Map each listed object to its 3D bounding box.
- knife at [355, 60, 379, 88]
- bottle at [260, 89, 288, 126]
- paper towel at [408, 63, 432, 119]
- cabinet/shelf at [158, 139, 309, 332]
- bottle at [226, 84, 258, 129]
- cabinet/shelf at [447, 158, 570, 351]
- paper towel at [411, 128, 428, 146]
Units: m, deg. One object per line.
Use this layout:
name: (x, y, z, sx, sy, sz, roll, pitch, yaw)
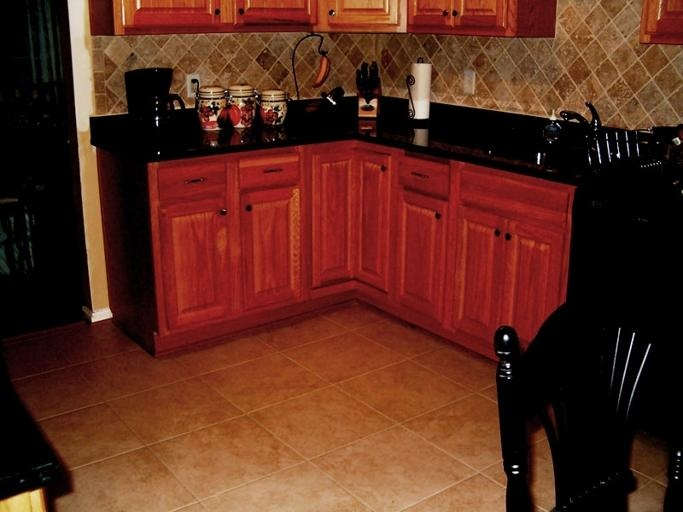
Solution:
knife: (0.173, -1.265, 3.838, 0.173, 0.178, 0.153, 3, 20, 11)
bottle: (-0.415, -0.989, 3.632, 0.191, 0.259, 0.229, 5, 24, 5)
paper towel: (0.521, -1.105, 3.699, 0.197, 0.362, 0.102, -6, 19, -13)
cabinet/shelf: (-0.715, -0.161, 3.382, 0.877, 1.080, 0.504, -12, 25, -28)
bottle: (-0.654, -0.991, 3.609, 0.227, 0.318, 0.227, 3, 24, -1)
cabinet/shelf: (0.801, 0.122, 3.087, 0.680, 1.015, 0.525, 15, -19, -11)
paper towel: (0.478, -0.722, 3.332, 0.101, 0.029, 0.529, 2, 22, 8)
